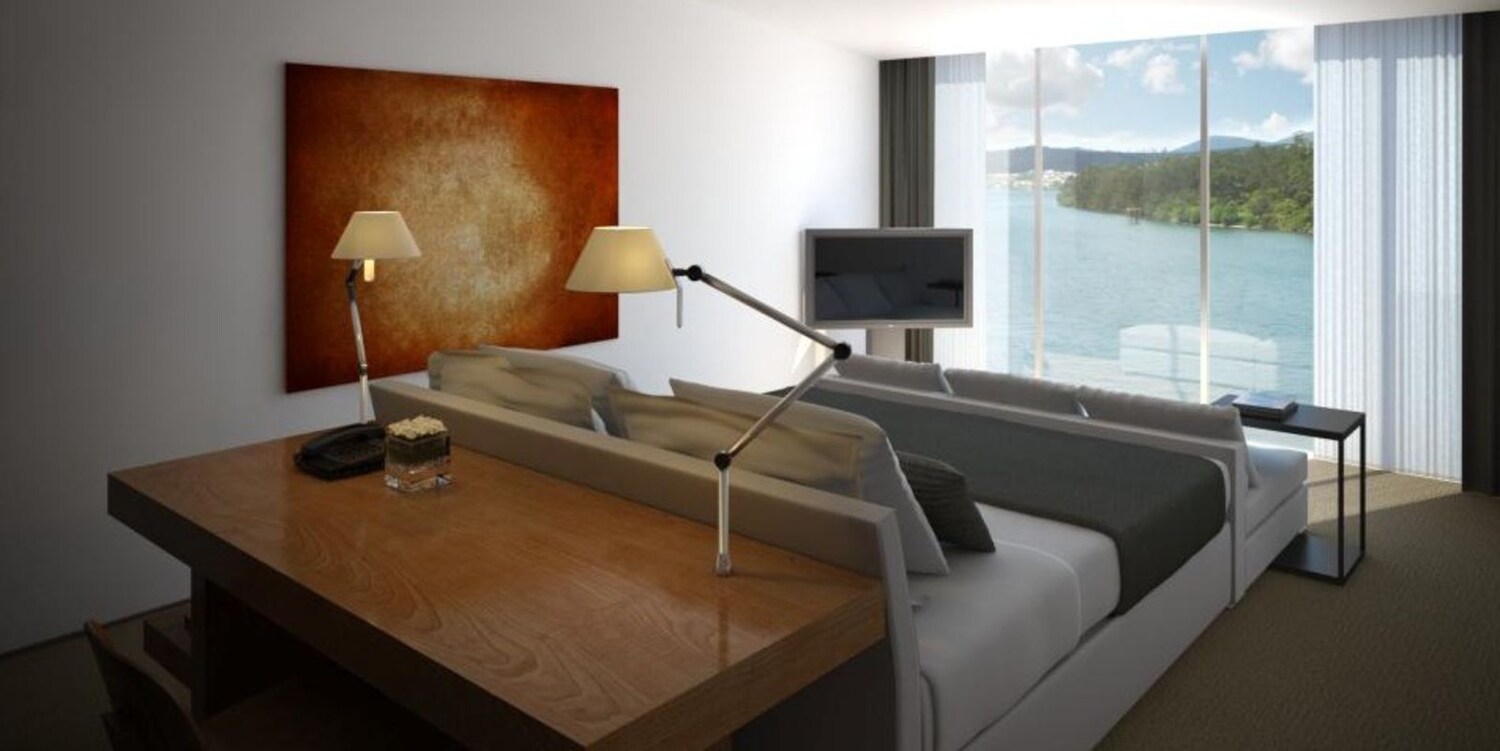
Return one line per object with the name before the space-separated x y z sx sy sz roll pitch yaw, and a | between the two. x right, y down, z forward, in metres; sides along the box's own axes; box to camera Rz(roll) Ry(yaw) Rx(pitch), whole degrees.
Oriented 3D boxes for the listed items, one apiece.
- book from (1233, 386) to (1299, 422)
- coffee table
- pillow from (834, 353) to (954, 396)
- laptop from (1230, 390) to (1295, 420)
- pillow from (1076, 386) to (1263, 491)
book | 3.548 0.219 6.008 0.349 0.073 0.325 -12 13 -42
coffee table | 3.607 0.808 5.858 0.498 1.004 1.169 -11 13 -40
pillow | 0.994 -0.010 6.006 0.740 0.253 0.156 7 -5 27
laptop | 3.526 0.203 6.044 0.341 0.073 0.311 -10 13 -37
pillow | 2.589 0.397 5.524 0.888 0.242 0.647 1 18 1
